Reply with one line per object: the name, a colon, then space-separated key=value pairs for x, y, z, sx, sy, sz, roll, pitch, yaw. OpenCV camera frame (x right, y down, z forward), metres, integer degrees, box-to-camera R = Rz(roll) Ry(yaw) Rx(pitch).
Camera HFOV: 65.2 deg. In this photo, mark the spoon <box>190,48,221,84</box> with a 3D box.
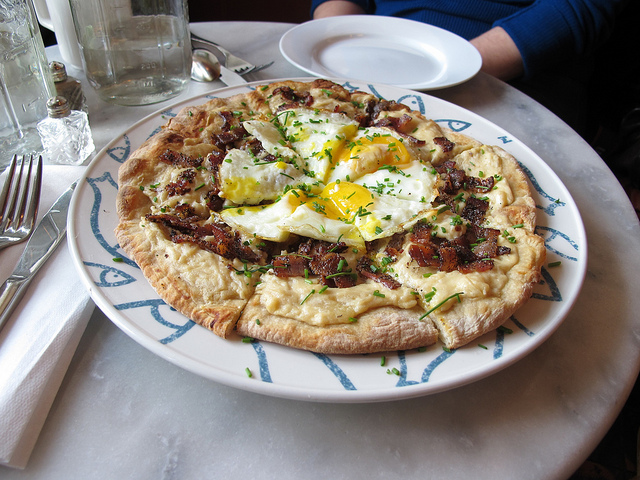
spoon: x=-0.911 y=-1.399 z=4.090 sx=0.280 sy=0.071 sz=0.269 roll=19 pitch=97 yaw=18
